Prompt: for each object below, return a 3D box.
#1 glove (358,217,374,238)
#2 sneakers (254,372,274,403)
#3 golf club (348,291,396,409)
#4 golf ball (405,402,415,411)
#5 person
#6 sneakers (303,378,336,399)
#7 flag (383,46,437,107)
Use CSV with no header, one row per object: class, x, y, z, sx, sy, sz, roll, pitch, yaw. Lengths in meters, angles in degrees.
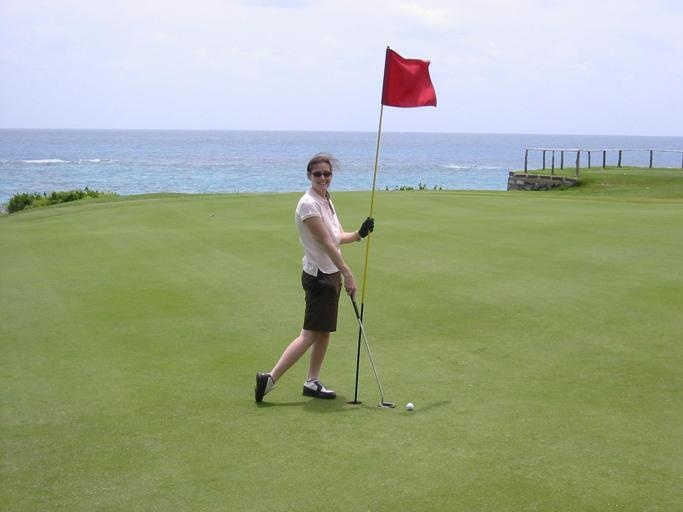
glove,0.258,-0.240,6.244,0.067,0.203,0.150,30,31,-18
sneakers,-0.694,1.161,5.943,0.154,0.316,0.106,1,18,-20
golf club,0.302,1.023,6.357,0.245,1.348,0.126,-7,10,43
golf ball,0.606,1.331,5.810,0.060,0.055,0.059,2,6,0
person,-0.221,0.178,6.224,1.016,2.245,1.211,0,13,3
sneakers,-0.200,1.242,6.143,0.280,0.117,0.140,3,3,21
flag,0.661,-1.733,6.477,0.505,0.539,0.415,1,13,6
